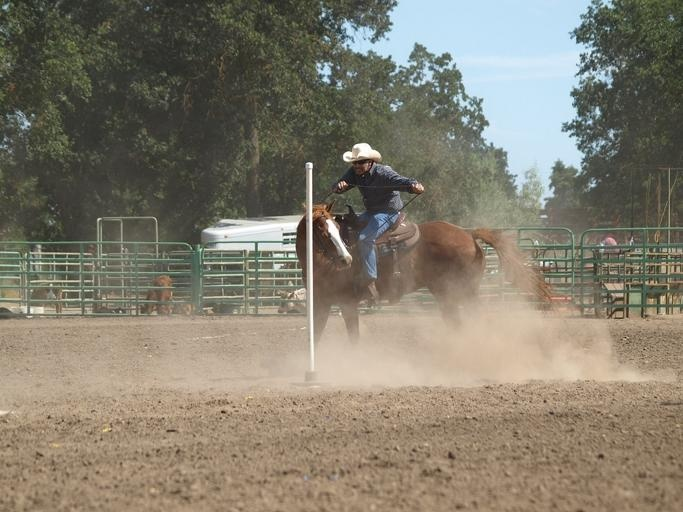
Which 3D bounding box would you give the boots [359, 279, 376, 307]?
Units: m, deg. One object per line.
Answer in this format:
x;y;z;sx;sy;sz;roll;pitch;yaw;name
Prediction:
0.787;0.987;28.421;0.398;0.723;0.970;-1;-2;15;boots
